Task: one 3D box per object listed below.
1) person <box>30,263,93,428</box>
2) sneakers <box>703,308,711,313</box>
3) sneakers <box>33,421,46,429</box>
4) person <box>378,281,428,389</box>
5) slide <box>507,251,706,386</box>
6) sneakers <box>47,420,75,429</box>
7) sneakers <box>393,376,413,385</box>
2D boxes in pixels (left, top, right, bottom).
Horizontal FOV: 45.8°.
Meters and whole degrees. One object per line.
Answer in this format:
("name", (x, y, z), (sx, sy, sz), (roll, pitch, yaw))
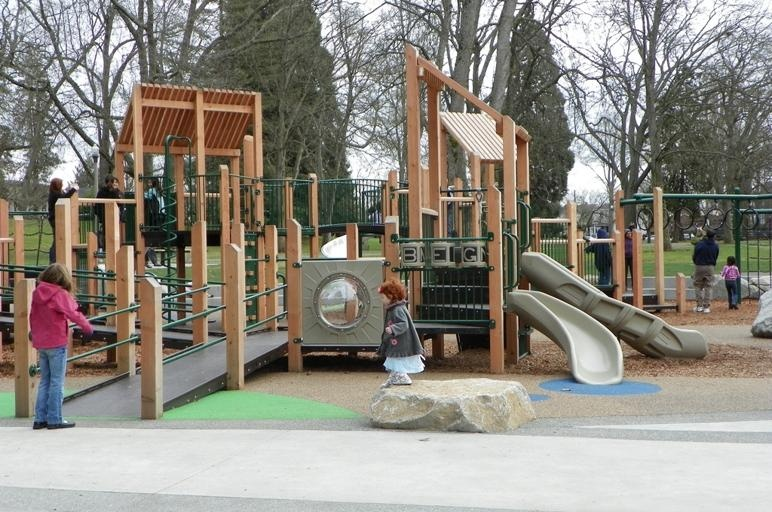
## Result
("person", (-5.036, 1.368, 13.952), (0.947, 2.487, 0.548), (-1, 1, 0))
("sneakers", (8.919, 1.526, 25.434), (0.174, 0.119, 0.108), (5, -4, -17))
("sneakers", (-5.214, 2.569, 13.788), (0.076, 0.102, 0.235), (-3, -12, 21))
("person", (0.235, 1.200, 14.342), (0.662, 1.642, 0.417), (-1, 1, -1))
("slide", (3.822, 1.144, 17.726), (2.757, 0.891, 2.641), (33, 34, 33))
("sneakers", (-4.904, 2.566, 13.805), (0.371, 0.157, 0.140), (-1, -2, -14))
("sneakers", (0.252, 1.932, 14.285), (0.257, 0.151, 0.168), (-2, 1, -19))
